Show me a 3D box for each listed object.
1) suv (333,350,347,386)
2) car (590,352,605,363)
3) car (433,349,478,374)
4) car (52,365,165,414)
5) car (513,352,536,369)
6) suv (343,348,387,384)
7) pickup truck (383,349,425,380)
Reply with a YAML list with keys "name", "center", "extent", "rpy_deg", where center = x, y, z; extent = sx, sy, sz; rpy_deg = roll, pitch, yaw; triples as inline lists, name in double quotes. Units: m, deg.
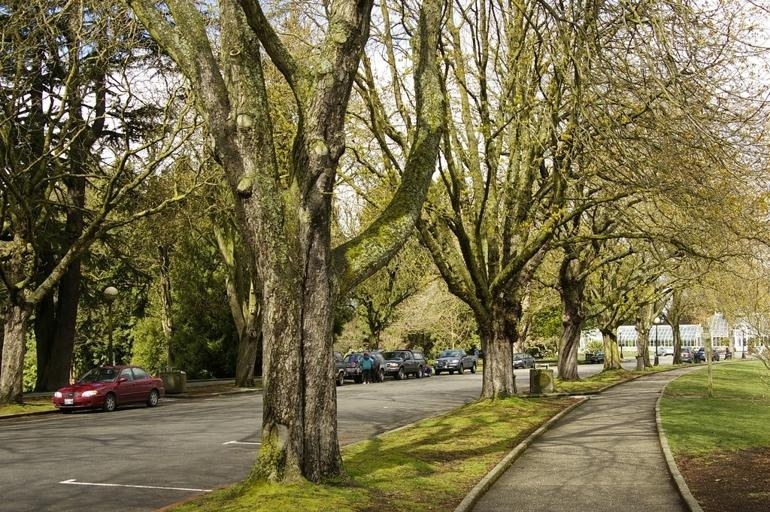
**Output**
- name: "suv"
  center: [-3.083, 7.839, 46.040]
  extent: [0.719, 2.431, 6.059]
  rpy_deg: [0, -13, -3]
- name: "car"
  center: [25.596, 12.407, 80.758]
  extent: [1.063, 1.407, 1.963]
  rpy_deg: [-10, -16, 41]
- name: "car"
  center: [6.359, 9.692, 60.754]
  extent: [2.710, 2.532, 6.257]
  rpy_deg: [-5, -13, 20]
- name: "car"
  center: [-12.198, 5.873, 29.524]
  extent: [1.852, 2.064, 4.356]
  rpy_deg: [-6, -14, 23]
- name: "car"
  center: [14.329, 10.919, 69.525]
  extent: [1.430, 1.777, 4.718]
  rpy_deg: [-6, -14, 26]
- name: "suv"
  center: [-1.588, 7.972, 47.835]
  extent: [1.522, 1.570, 3.042]
  rpy_deg: [-1, -1, 22]
- name: "pickup truck"
  center: [1.340, 8.591, 52.808]
  extent: [1.742, 1.441, 3.665]
  rpy_deg: [-4, -12, 22]
